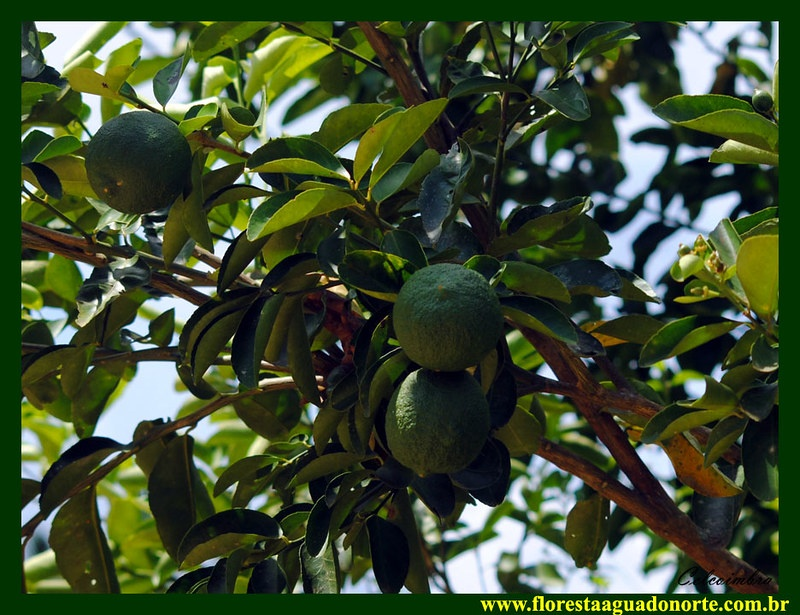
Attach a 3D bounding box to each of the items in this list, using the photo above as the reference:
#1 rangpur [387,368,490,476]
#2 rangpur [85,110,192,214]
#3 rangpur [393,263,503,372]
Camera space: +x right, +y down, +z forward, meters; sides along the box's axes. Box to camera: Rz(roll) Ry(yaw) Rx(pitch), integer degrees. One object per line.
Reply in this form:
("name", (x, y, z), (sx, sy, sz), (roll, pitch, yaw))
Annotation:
("rangpur", (0.100, 0.292, 3.545), (0.237, 0.301, 0.238), (6, -75, -5))
("rangpur", (-0.777, -0.397, 3.750), (0.311, 0.383, 0.328), (-1, -5, -27))
("rangpur", (0.132, 0.024, 3.473), (0.298, 0.295, 0.281), (-13, -54, -17))
